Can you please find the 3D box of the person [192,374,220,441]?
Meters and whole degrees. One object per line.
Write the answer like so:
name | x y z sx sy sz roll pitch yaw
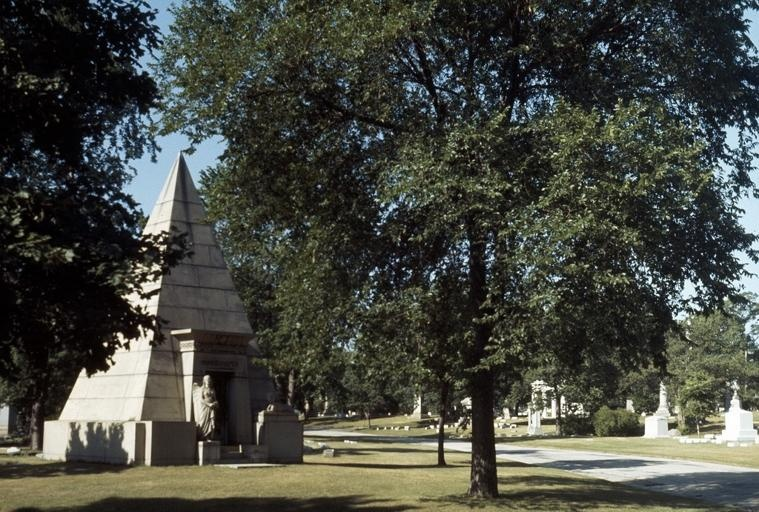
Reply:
person | -6.289 5.384 31.600 0.826 2.329 0.686 -3 -13 11
